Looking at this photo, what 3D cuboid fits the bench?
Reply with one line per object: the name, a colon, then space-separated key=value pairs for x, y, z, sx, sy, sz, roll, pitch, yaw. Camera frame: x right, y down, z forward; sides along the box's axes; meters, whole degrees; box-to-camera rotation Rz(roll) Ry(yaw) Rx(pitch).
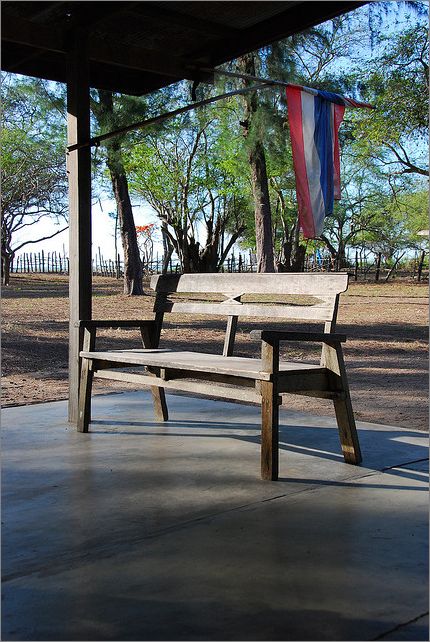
bench: x=-0.082 y=0.223 z=3.472 sx=0.714 sy=1.046 sz=1.822 roll=-2 pitch=3 yaw=-41
